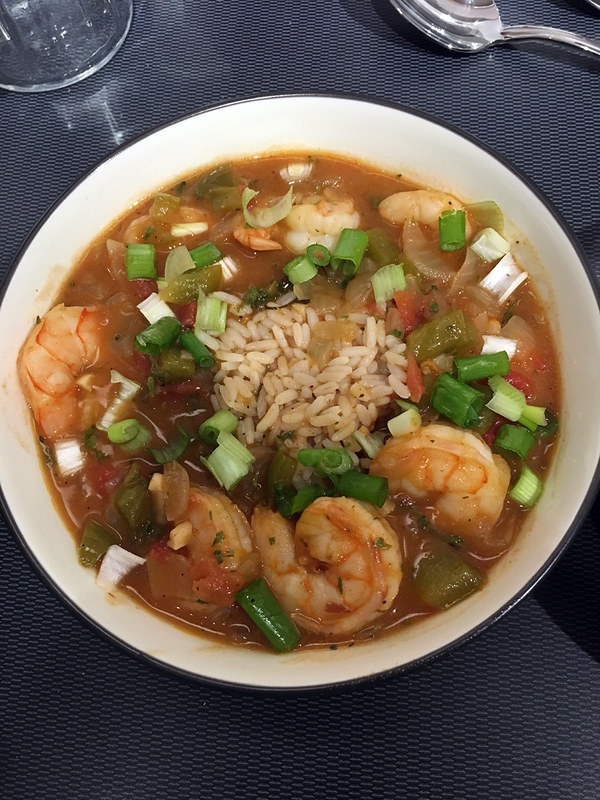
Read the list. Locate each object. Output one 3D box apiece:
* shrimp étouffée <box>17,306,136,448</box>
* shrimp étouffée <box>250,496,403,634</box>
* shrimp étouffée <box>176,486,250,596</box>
[{"bbox_3d":[-1.032,-0.107,3.410,0.259,0.547,0.588,10,83,44],"label":"shrimp étouffée"},{"bbox_3d":[0.110,0.690,3.092,0.532,0.185,0.550,-15,76,-2],"label":"shrimp étouffée"},{"bbox_3d":[-0.348,0.578,3.045,0.346,0.145,0.370,-11,80,-1],"label":"shrimp étouffée"}]
